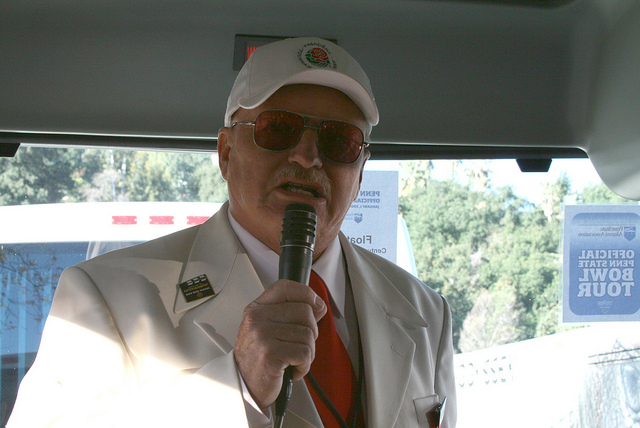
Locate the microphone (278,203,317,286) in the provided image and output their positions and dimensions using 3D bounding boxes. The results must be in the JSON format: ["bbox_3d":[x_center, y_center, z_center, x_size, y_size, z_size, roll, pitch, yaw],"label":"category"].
[{"bbox_3d":[-0.119,0.153,3.657,0.193,0.441,0.119,0,-6,-1],"label":"microphone"}]
